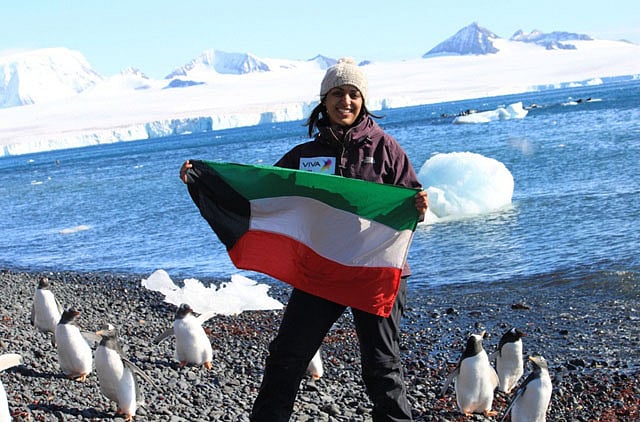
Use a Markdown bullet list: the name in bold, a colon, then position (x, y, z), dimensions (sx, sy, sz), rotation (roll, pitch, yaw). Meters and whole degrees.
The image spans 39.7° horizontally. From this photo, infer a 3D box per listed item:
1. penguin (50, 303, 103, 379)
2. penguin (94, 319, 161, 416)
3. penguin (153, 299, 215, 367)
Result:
- **penguin**: position (-5.976, 3.203, 21.450), dimensions (0.738, 1.747, 0.462), rotation (-8, 13, -9)
- **penguin**: position (-4.711, 3.782, 21.493), dimensions (1.565, 1.976, 2.217), rotation (2, -4, -2)
- **penguin**: position (-3.235, 3.175, 22.629), dimensions (1.645, 1.576, 1.989), rotation (-2, 24, -1)
